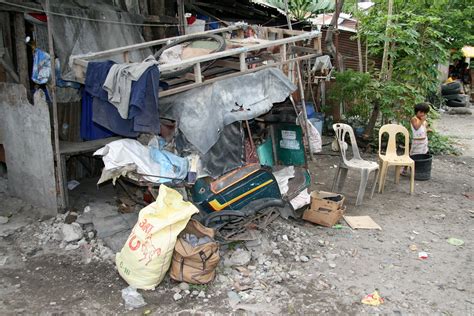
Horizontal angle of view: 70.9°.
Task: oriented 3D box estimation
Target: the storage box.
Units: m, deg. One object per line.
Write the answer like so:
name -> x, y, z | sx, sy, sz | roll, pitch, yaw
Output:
storage box -> 1.620, 0.940, 6.176 | 0.712, 0.475, 0.688 | 5, 10, 14

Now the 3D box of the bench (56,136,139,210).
bench -> -3.168, 0.164, 7.034 | 0.958, 1.101, 1.748 | -10, 19, -20

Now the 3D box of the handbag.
handbag -> -0.576, 1.398, 5.184 | 0.883, 0.832, 0.709 | 3, 8, 37
